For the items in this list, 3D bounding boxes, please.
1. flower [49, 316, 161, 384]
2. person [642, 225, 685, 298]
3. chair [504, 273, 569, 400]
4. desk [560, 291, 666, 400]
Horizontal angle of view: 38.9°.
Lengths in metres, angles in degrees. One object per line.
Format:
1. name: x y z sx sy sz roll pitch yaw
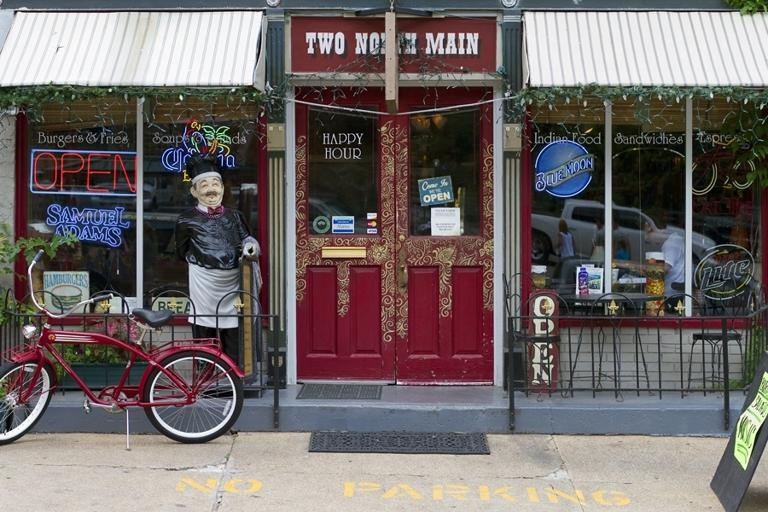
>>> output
1. flower: -3.378 1.177 13.035 0.833 1.190 0.485 1 -5 -3
2. person: 3.431 0.034 13.450 0.441 0.953 0.425 4 -1 -13
3. chair: 1.780 0.934 12.809 0.687 1.454 0.641 0 -1 0
4. desk: 2.734 1.028 13.009 1.094 1.146 0.932 -1 8 -1
